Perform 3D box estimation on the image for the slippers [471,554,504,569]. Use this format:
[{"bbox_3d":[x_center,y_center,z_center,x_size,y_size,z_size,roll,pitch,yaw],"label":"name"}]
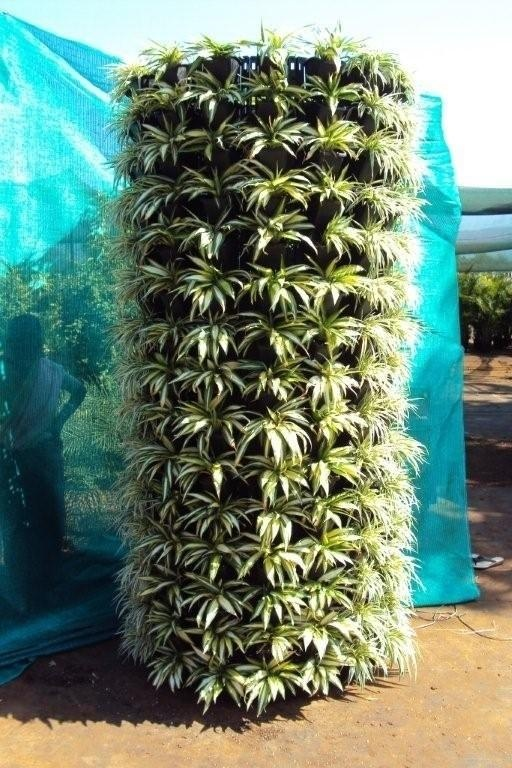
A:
[{"bbox_3d":[1.600,1.229,4.485,0.209,0.045,0.287,2,6,18],"label":"slippers"}]
